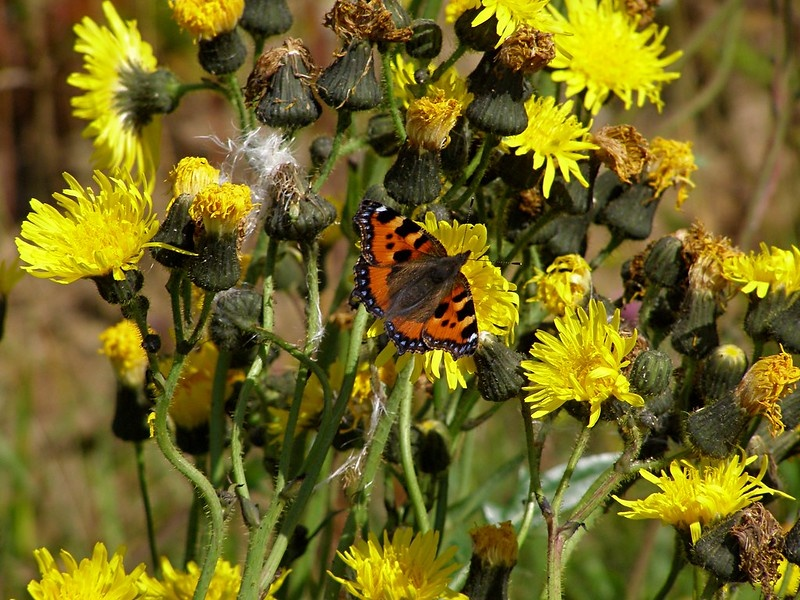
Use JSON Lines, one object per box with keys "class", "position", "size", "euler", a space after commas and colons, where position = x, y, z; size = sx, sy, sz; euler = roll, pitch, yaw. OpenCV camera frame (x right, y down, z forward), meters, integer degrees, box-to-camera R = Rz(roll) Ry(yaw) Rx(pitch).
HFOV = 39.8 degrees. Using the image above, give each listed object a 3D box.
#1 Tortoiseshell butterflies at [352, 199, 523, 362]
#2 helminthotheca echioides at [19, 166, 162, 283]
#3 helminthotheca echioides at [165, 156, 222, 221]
{"class": "Tortoiseshell butterflies", "position": [0.069, -0.033, 2.674], "size": [0.440, 0.292, 0.421], "euler": [-10, 106, -28]}
{"class": "helminthotheca echioides", "position": [-0.738, -0.182, 2.640], "size": [0.324, 0.093, 0.269], "euler": [-3, 80, -1]}
{"class": "helminthotheca echioides", "position": [-0.514, -0.275, 2.731], "size": [0.096, 0.112, 0.128], "euler": [11, 84, -2]}
